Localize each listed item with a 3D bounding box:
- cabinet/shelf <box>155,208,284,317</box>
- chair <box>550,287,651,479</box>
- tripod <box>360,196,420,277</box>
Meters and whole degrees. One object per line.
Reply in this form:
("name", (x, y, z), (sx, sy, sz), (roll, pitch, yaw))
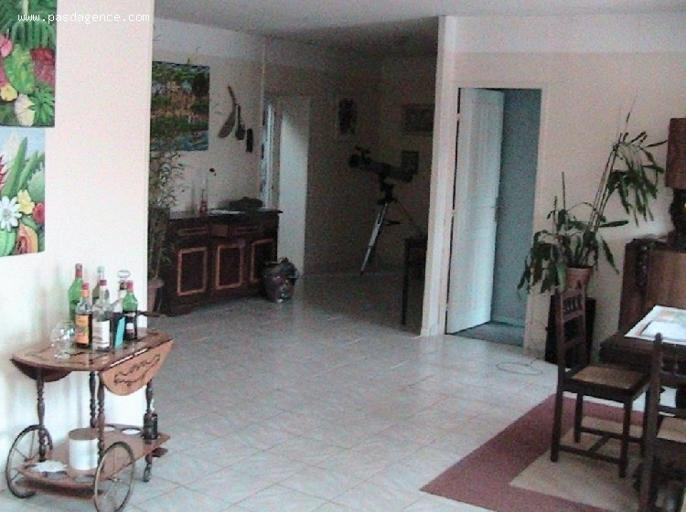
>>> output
("cabinet/shelf", (-1.740, 0.022, 7.529), (0.695, 1.237, 2.192), (8, 9, 25))
("chair", (1.884, 0.870, 3.831), (0.903, 1.091, 0.816), (3, 4, 8))
("tripod", (0.717, -0.429, 9.549), (0.887, 1.415, 0.759), (8, 13, 33))
